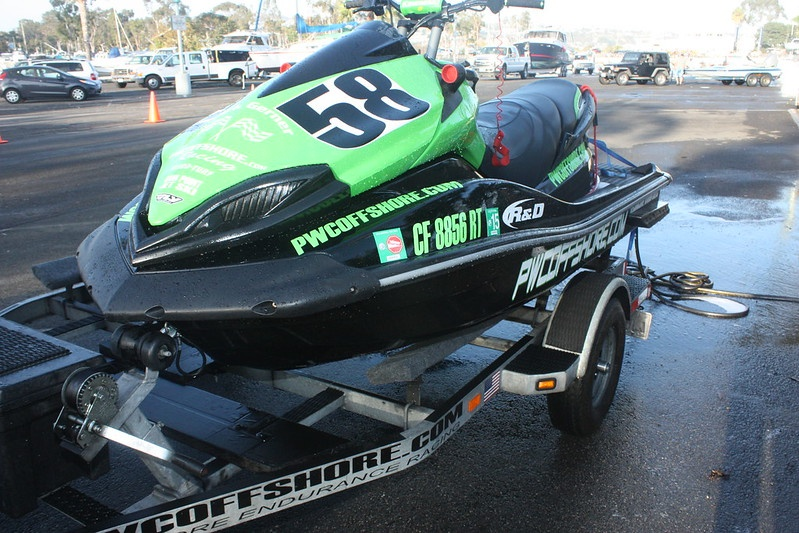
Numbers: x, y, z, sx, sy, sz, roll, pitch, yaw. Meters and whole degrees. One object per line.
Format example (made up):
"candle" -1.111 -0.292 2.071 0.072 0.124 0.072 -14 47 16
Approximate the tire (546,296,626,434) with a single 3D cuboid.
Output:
"tire" 1.209 0.642 3.822 0.237 0.649 0.732 16 48 31

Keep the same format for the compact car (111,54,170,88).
"compact car" -13.750 -10.840 32.085 1.783 1.398 3.193 15 38 36

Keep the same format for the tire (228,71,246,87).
"tire" -9.456 -10.805 33.476 1.080 1.001 0.370 -6 31 -29

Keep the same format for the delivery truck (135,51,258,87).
"delivery truck" -11.512 -11.105 32.556 6.314 1.777 2.390 -11 24 -30

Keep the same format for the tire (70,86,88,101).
"tire" -14.044 -7.540 25.315 0.611 0.565 0.215 0 13 7
